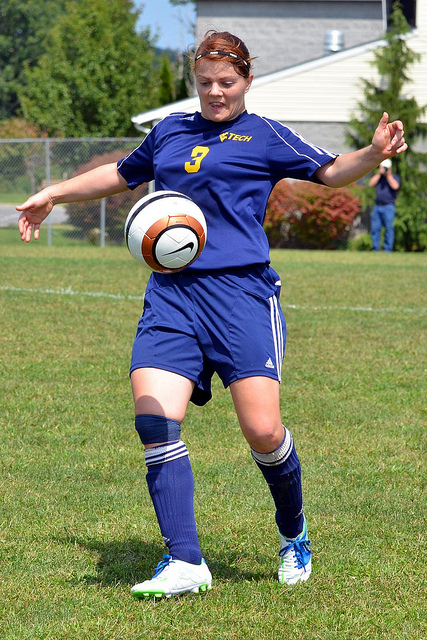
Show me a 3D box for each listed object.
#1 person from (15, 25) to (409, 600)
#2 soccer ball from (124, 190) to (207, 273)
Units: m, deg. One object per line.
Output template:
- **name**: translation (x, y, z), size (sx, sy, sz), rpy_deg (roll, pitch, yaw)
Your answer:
- **person**: translation (-0.065, -0.057, 2.776), size (1.169, 1.951, 0.671), rpy_deg (9, 9, 42)
- **soccer ball**: translation (-0.172, -0.300, 2.715), size (0.295, 0.283, 0.175), rpy_deg (4, 7, 14)
